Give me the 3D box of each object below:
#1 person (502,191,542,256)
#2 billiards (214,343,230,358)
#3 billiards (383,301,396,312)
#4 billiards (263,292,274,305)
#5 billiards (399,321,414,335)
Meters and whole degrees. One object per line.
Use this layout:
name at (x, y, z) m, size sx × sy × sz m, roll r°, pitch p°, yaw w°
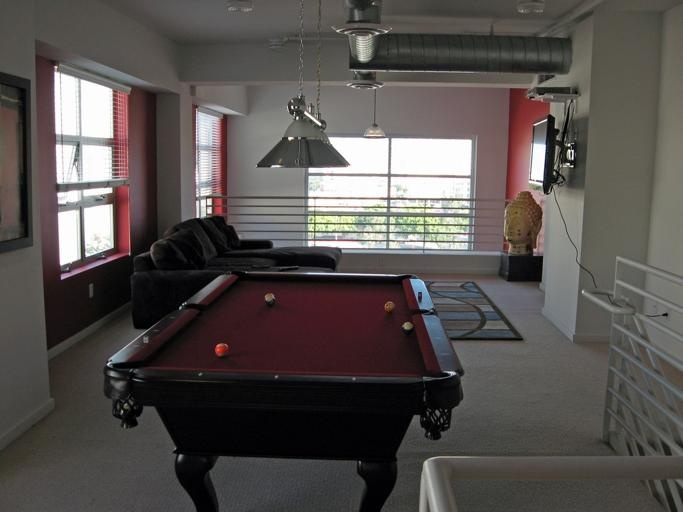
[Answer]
person at (2.783, -0.501, 7.936) m, size 0.526 × 0.974 × 0.335 m, roll -1°, pitch 13°, yaw 5°
billiards at (-0.572, 0.441, 2.491) m, size 0.058 × 0.067 × 0.064 m, roll 12°, pitch 2°, yaw 7°
billiards at (0.281, 0.303, 3.087) m, size 0.051 × 0.036 × 0.054 m, roll 5°, pitch 38°, yaw 14°
billiards at (-0.436, 0.263, 3.195) m, size 0.051 × 0.063 × 0.070 m, roll 0°, pitch -6°, yaw -11°
billiards at (0.353, 0.378, 2.749) m, size 0.054 × 0.042 × 0.054 m, roll -5°, pitch 18°, yaw -2°
